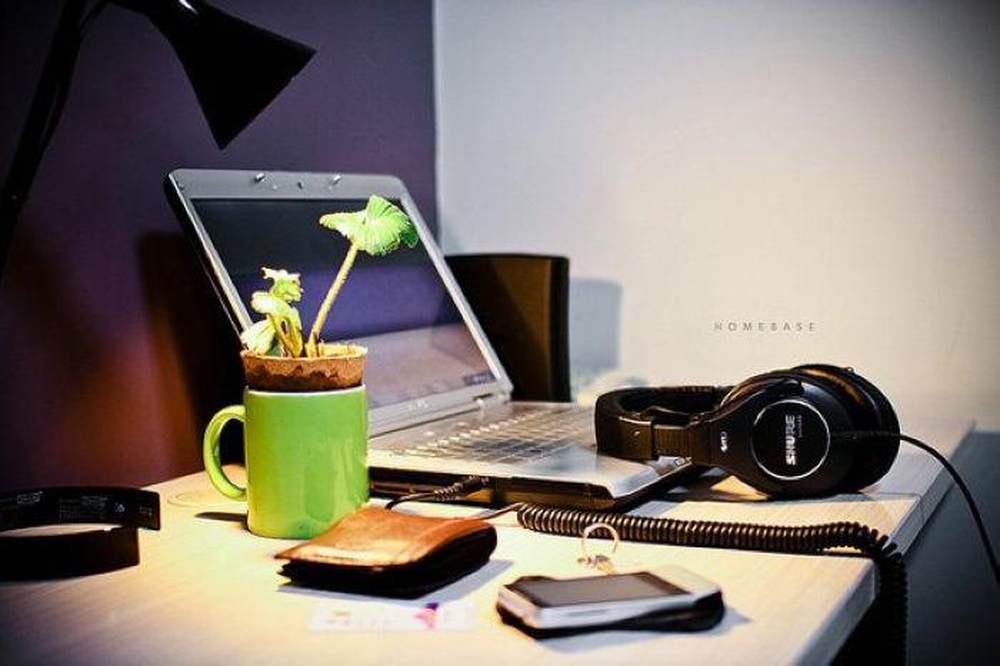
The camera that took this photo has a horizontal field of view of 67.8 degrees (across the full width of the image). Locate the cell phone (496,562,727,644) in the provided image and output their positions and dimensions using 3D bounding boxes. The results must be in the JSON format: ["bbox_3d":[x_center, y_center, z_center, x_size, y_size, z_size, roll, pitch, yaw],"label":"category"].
[{"bbox_3d":[0.099,0.239,0.669,0.204,0.029,0.075,-1,12,-2],"label":"cell phone"}]

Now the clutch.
[{"bbox_3d":[-0.113,0.222,0.764,0.222,0.065,0.204,2,-3,-37],"label":"clutch"}]

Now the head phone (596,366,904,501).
[{"bbox_3d":[0.320,0.105,1.052,0.336,0.164,0.371,3,0,7],"label":"head phone"}]
